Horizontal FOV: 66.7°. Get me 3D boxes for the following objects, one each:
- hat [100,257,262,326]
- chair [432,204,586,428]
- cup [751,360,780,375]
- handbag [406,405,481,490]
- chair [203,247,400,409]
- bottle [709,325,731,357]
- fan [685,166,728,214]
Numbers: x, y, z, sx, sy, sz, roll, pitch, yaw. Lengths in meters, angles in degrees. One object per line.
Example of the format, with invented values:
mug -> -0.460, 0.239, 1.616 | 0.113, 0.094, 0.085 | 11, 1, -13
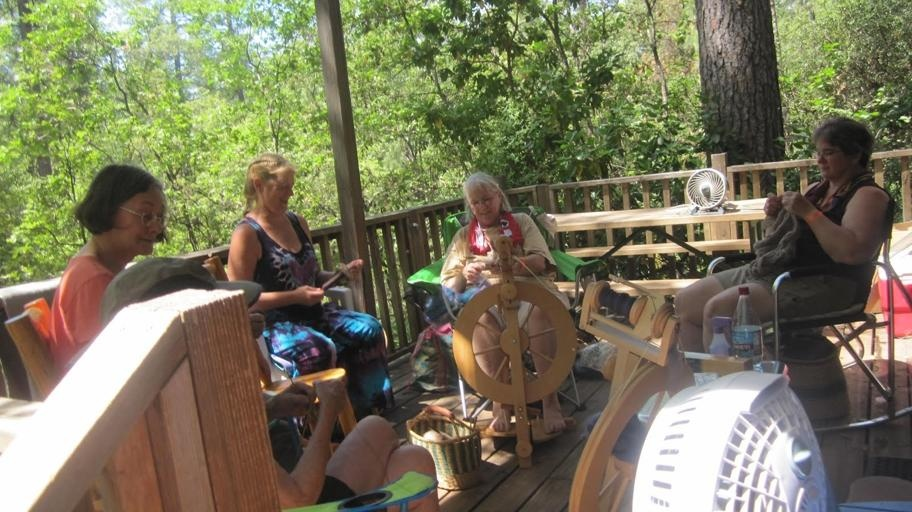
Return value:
hat -> -1.613, 0.135, 3.999 | 0.726, 0.233, 0.487 | -8, 16, -19
chair -> 0.433, 0.419, 6.024 | 1.408, 2.019, 1.582 | -3, 2, 3
cup -> 1.949, 0.706, 4.387 | 0.100, 0.074, 0.100 | -2, -1, 0
handbag -> -0.043, 1.415, 5.228 | 0.463, 0.552, 0.624 | -5, 5, -41
chair -> -1.142, 0.431, 5.587 | 1.119, 2.068, 0.966 | 1, 16, 13
bottle -> 1.879, 0.591, 4.908 | 0.229, 0.212, 0.111 | -11, 8, -34
fan -> 2.371, -0.637, 6.703 | 0.389, 0.415, 0.427 | 3, 1, 37
